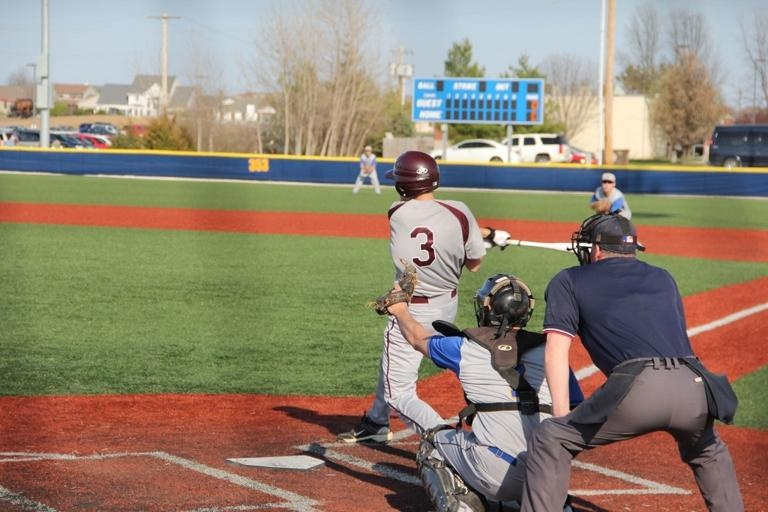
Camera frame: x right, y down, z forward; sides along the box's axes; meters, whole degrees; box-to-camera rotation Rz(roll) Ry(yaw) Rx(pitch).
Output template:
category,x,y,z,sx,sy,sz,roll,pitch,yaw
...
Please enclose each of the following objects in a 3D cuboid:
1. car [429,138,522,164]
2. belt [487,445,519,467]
category,x,y,z,sx,sy,sz,roll,pitch,yaw
car,2.761,-3.110,37.500,2.864,0.884,1.302,5,7,16
belt,1.352,2.265,14.221,0.290,0.075,0.167,30,8,9
